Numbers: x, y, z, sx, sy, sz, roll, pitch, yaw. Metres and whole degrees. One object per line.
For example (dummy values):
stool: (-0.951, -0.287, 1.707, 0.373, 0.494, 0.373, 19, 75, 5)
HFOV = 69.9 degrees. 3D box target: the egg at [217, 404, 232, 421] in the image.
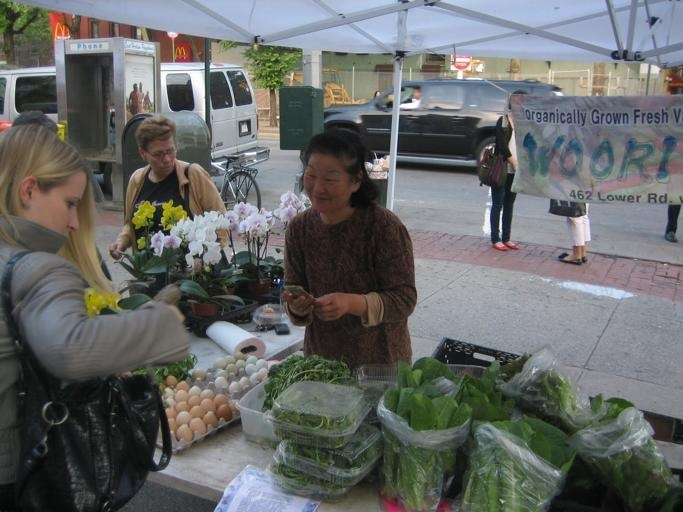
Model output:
egg: (-0.555, 0.745, 2.322, 0.067, 0.081, 0.070, 9, -8, -5)

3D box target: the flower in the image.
flower: (-1.199, 0.023, 3.939, 1.113, 0.777, 1.510, 2, 17, 13)

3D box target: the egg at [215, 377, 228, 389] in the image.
egg: (-0.652, 0.691, 2.640, 0.060, 0.056, 0.047, -7, 5, 8)

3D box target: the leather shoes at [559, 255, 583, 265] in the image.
leather shoes: (3.673, 0.070, 7.912, 0.136, 0.098, 0.316, -7, 8, -33)

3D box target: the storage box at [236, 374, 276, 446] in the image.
storage box: (-0.370, 0.715, 2.233, 0.189, 0.100, 0.274, 4, 9, 18)

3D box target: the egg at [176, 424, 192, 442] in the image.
egg: (-0.694, 0.786, 2.154, 0.057, 0.071, 0.040, 4, 12, 2)

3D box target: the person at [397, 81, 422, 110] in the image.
person: (1.967, -4.730, 14.578, 0.723, 0.719, 0.610, 2, 7, 3)

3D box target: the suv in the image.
suv: (2.581, -3.986, 15.521, 8.248, 3.082, 3.574, 8, 15, 19)

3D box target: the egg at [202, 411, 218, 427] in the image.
egg: (-0.610, 0.763, 2.271, 0.060, 0.073, 0.058, -8, 0, 38)

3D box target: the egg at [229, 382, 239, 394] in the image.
egg: (-0.571, 0.702, 2.586, 0.045, 0.055, 0.046, 2, 5, -3)

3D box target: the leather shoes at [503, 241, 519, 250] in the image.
leather shoes: (2.920, -0.188, 8.546, 0.296, 0.123, 0.119, 12, 23, 39)

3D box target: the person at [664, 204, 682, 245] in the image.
person: (6.090, -0.632, 9.000, 0.220, 0.731, 1.174, 8, 17, 33)

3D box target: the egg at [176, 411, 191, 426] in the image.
egg: (-0.735, 0.750, 2.291, 0.054, 0.064, 0.052, 29, 32, 16)

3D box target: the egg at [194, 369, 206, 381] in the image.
egg: (-0.819, 0.690, 2.821, 0.074, 0.064, 0.062, 9, -27, -24)

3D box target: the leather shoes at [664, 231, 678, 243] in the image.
leather shoes: (6.040, -0.347, 9.027, 0.145, 0.111, 0.257, -14, 23, -7)

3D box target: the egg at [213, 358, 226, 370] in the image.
egg: (-0.720, 0.641, 2.883, 0.054, 0.066, 0.056, 6, 9, 28)

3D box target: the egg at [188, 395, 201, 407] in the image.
egg: (-0.723, 0.719, 2.407, 0.040, 0.049, 0.040, 17, 5, 13)

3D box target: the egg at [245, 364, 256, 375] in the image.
egg: (-0.518, 0.648, 2.769, 0.051, 0.053, 0.060, 27, -9, 17)

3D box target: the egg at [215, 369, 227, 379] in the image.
egg: (-0.681, 0.665, 2.771, 0.043, 0.045, 0.053, 17, 8, 15)

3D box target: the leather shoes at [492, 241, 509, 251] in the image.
leather shoes: (2.745, -0.173, 8.468, 0.237, 0.103, 0.133, 15, 30, 43)

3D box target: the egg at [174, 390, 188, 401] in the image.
egg: (-0.815, 0.715, 2.482, 0.046, 0.056, 0.051, 32, -14, 14)

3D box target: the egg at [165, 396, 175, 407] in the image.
egg: (-0.849, 0.726, 2.418, 0.034, 0.027, 0.037, 6, 8, 11)

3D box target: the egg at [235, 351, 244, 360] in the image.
egg: (-0.618, 0.609, 2.950, 0.046, 0.039, 0.039, 6, -34, -17)

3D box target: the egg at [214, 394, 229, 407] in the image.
egg: (-0.591, 0.717, 2.416, 0.052, 0.053, 0.063, 25, -28, 0)

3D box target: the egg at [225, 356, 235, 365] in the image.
egg: (-0.667, 0.623, 2.903, 0.040, 0.040, 0.048, -38, -15, 27)

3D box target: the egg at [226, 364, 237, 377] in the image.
egg: (-0.622, 0.656, 2.785, 0.056, 0.069, 0.056, -6, 1, -29)

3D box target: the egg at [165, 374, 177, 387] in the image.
egg: (-0.933, 0.689, 2.675, 0.049, 0.061, 0.050, 9, 26, 28)

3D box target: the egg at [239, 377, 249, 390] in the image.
egg: (-0.525, 0.682, 2.625, 0.044, 0.048, 0.046, -21, -28, 32)

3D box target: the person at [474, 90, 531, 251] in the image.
person: (2.643, -1.180, 8.149, 0.682, 2.259, 1.014, 5, 15, 23)

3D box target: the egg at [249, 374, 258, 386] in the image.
egg: (-0.476, 0.671, 2.631, 0.045, 0.044, 0.046, 0, -27, -10)

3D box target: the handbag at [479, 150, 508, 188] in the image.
handbag: (2.483, -1.425, 7.973, 0.332, 0.652, 0.598, -5, 11, -25)

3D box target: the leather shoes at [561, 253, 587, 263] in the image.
leather shoes: (3.711, 0.041, 7.899, 0.164, 0.097, 0.352, -10, 7, -34)

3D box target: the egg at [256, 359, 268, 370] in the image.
egg: (-0.475, 0.637, 2.856, 0.044, 0.054, 0.045, -28, 1, 36)

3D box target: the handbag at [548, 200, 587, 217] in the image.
handbag: (3.423, -0.703, 7.436, 0.481, 0.281, 0.383, 7, 16, 28)

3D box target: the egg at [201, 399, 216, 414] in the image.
egg: (-0.642, 0.723, 2.347, 0.054, 0.059, 0.059, -42, 2, -14)

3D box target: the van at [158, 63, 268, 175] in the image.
van: (-2.872, -3.679, 12.584, 2.001, 1.799, 3.359, -1, 4, 15)
